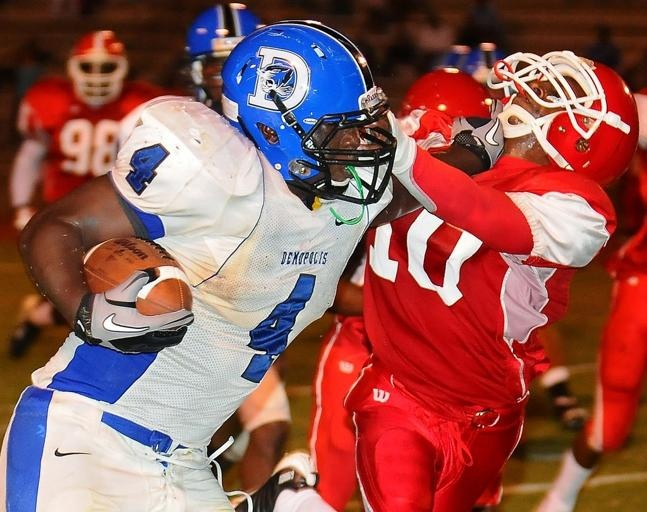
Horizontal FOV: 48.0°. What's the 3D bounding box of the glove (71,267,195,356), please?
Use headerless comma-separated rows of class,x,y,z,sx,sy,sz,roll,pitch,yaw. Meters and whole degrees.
glove,-0.440,0.134,1.772,0.323,0.125,0.189,2,42,6

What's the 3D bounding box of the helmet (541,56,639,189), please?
helmet,0.866,-0.438,2.366,0.360,0.417,0.181,8,16,5

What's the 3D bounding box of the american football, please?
american football,-0.524,0.048,1.869,0.230,0.146,0.165,45,6,33

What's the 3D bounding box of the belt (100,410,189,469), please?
belt,-0.498,0.507,2.003,0.212,0.043,0.116,21,1,-16

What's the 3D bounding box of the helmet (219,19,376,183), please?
helmet,-0.064,-0.455,2.130,0.393,0.465,0.284,20,20,40

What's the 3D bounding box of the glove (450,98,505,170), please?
glove,0.502,-0.382,2.435,0.166,0.170,0.175,2,15,-18
